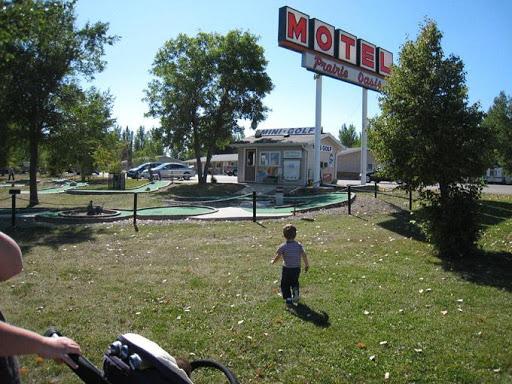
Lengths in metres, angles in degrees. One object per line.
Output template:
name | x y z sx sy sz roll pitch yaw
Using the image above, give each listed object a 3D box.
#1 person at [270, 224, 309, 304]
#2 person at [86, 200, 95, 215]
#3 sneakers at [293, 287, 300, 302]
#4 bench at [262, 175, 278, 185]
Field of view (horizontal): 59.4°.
person | 0.706 1.334 8.982 0.664 1.435 1.259 1 7 7
person | -6.714 0.655 18.198 0.307 0.806 0.317 6 16 5
sneakers | 0.773 1.967 8.561 0.093 0.303 0.119 0 -1 -5
bench | 1.005 -0.861 31.443 0.449 0.600 1.311 -7 11 -44
